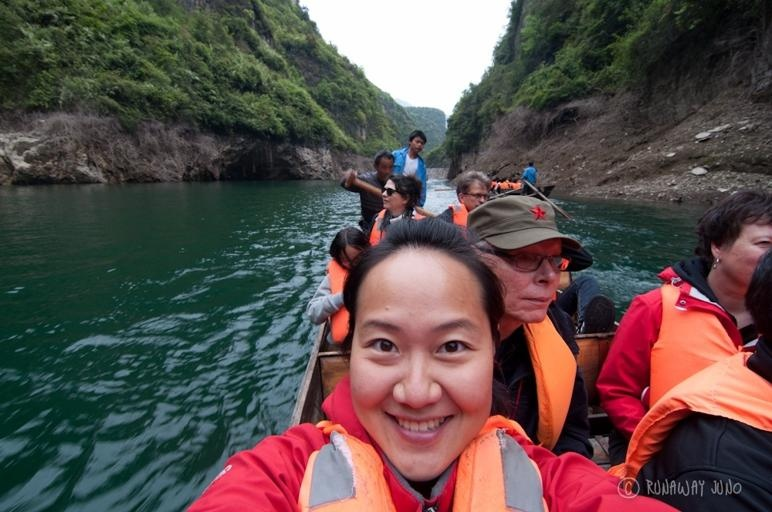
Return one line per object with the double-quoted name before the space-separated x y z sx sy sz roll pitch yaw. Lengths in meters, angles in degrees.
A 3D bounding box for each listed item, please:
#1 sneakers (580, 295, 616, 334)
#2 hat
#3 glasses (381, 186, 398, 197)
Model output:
"sneakers" 2.448 0.715 4.905 0.230 0.593 0.240 10 1 17
"hat" 1.138 -0.216 4.000 1.063 0.519 0.762 4 -9 18
"glasses" 0.049 -0.895 6.013 0.206 0.156 0.051 17 19 34
